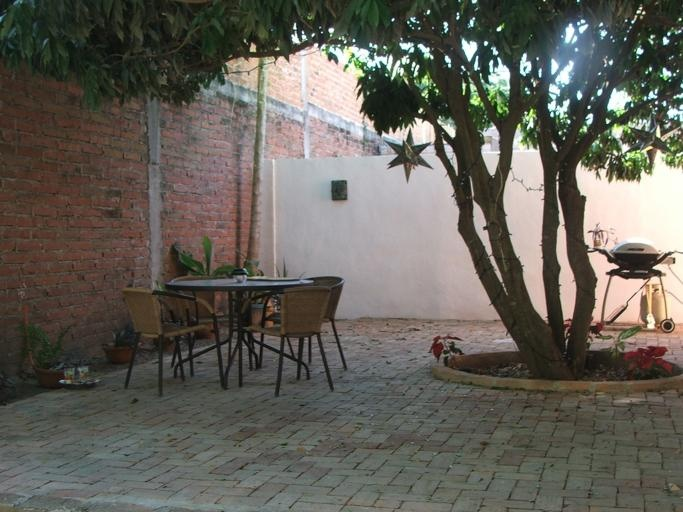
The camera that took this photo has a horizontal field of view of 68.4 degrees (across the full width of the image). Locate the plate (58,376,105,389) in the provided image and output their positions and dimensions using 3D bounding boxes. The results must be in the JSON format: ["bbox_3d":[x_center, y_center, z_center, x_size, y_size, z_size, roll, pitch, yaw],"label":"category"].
[{"bbox_3d":[-2.708,1.299,5.218,0.402,0.105,0.276,-2,1,-30],"label":"plate"}]

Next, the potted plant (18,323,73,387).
[{"bbox_3d":[-3.261,1.040,5.531,0.640,0.675,0.642,-1,-1,-2],"label":"potted plant"}]

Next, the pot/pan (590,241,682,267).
[{"bbox_3d":[4.206,-0.019,7.253,0.824,0.386,0.428,-1,2,29],"label":"pot/pan"}]

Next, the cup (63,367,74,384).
[{"bbox_3d":[-2.793,1.224,5.158,0.134,0.140,0.131,0,-8,0],"label":"cup"}]
